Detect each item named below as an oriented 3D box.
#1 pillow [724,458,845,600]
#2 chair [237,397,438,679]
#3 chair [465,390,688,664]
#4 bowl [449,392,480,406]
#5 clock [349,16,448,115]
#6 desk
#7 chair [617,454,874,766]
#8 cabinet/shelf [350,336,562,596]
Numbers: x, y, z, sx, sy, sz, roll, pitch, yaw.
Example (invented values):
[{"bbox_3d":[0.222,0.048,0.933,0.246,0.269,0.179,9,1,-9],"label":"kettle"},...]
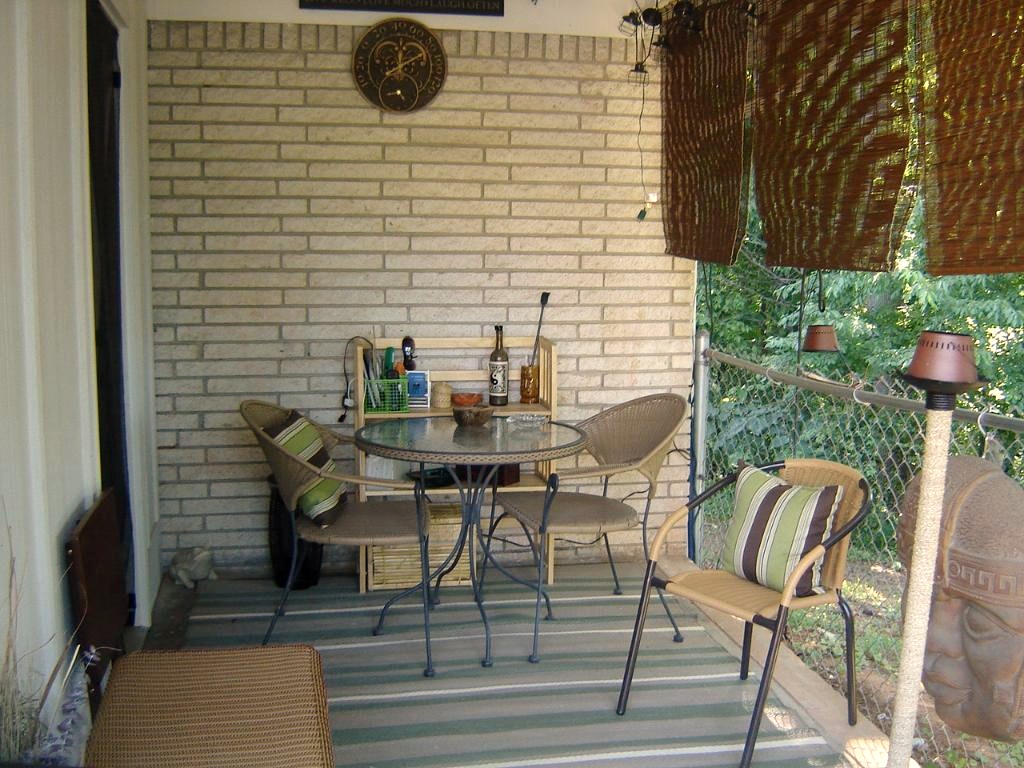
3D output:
[{"bbox_3d":[1.100,0.593,3.315,0.304,0.453,0.566,-6,10,-39],"label":"pillow"},{"bbox_3d":[-0.793,0.695,4.195,1.024,1.124,0.885,-1,10,-12],"label":"chair"},{"bbox_3d":[0.412,0.662,4.808,1.284,1.481,1.250,1,3,-21],"label":"chair"},{"bbox_3d":[-0.239,0.085,4.241,0.129,0.058,0.234,1,11,4],"label":"bowl"},{"bbox_3d":[-0.646,-1.786,4.731,0.557,0.496,0.035,6,19,6],"label":"clock"},{"bbox_3d":[-0.141,0.806,4.268,0.975,0.779,0.878,-3,-5,5],"label":"desk"},{"bbox_3d":[0.964,0.822,3.892,1.209,1.423,1.117,0,3,-33],"label":"chair"},{"bbox_3d":[-0.304,0.455,4.696,1.235,1.362,0.539,-4,16,9],"label":"cabinet/shelf"}]
